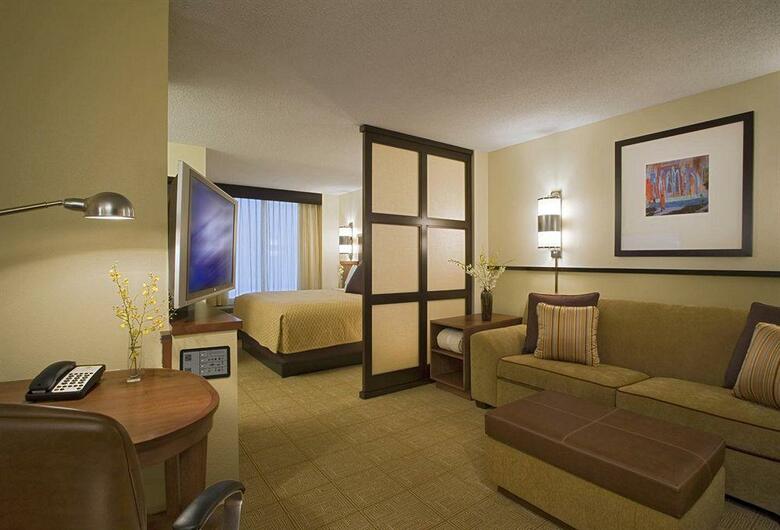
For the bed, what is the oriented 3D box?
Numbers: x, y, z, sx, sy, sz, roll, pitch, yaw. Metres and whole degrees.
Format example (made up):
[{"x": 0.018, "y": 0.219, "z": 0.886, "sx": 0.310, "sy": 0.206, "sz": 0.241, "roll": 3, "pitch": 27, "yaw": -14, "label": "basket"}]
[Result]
[{"x": -1.194, "y": 0.791, "z": 6.335, "sx": 1.202, "sy": 0.956, "sz": 1.448, "roll": -14, "pitch": 19, "yaw": -43, "label": "bed"}]

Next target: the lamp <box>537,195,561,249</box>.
[{"x": 1.686, "y": -0.440, "z": 5.330, "sx": 0.197, "sy": 0.585, "sz": 0.242, "roll": -1, "pitch": 4, "yaw": 4, "label": "lamp"}]

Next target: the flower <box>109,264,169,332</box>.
[{"x": -1.599, "y": 0.238, "z": 3.248, "sx": 0.313, "sy": 0.462, "sz": 0.225, "roll": -9, "pitch": 16, "yaw": -29, "label": "flower"}]

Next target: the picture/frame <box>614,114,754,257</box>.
[{"x": 2.609, "y": -0.694, "z": 4.415, "sx": 0.051, "sy": 1.395, "sz": 1.289, "roll": 0, "pitch": -1, "yaw": -44, "label": "picture/frame"}]

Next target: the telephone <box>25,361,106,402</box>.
[{"x": -1.798, "y": 0.643, "z": 2.815, "sx": 0.267, "sy": 0.161, "sz": 0.302, "roll": -2, "pitch": 14, "yaw": -5, "label": "telephone"}]

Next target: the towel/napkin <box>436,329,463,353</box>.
[{"x": 0.623, "y": 0.792, "z": 5.258, "sx": 0.183, "sy": 0.203, "sz": 0.279, "roll": 28, "pitch": -18, "yaw": -31, "label": "towel/napkin"}]

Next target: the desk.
[{"x": -1.486, "y": 0.819, "z": 2.853, "sx": 0.981, "sy": 0.759, "sz": 0.938, "roll": 2, "pitch": 4, "yaw": -7, "label": "desk"}]

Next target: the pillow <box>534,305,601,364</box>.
[{"x": 1.584, "y": 0.628, "z": 4.467, "sx": 0.442, "sy": 0.457, "sz": 0.165, "roll": -4, "pitch": -21, "yaw": 32, "label": "pillow"}]

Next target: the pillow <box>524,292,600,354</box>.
[{"x": 1.556, "y": 0.539, "z": 4.544, "sx": 0.182, "sy": 0.498, "sz": 0.499, "roll": 16, "pitch": -12, "yaw": -35, "label": "pillow"}]

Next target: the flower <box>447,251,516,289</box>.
[{"x": 1.023, "y": 0.052, "z": 5.790, "sx": 0.497, "sy": 0.365, "sz": 0.476, "roll": -3, "pitch": 2, "yaw": -41, "label": "flower"}]

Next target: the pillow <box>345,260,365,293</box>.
[{"x": -0.542, "y": 0.186, "z": 7.248, "sx": 0.124, "sy": 0.432, "sz": 0.434, "roll": 12, "pitch": -39, "yaw": 4, "label": "pillow"}]

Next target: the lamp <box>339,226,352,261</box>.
[{"x": -0.837, "y": -0.392, "z": 9.341, "sx": 0.165, "sy": 0.675, "sz": 0.548, "roll": -9, "pitch": 16, "yaw": -31, "label": "lamp"}]

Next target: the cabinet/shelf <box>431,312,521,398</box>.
[{"x": 1.032, "y": 0.936, "z": 5.438, "sx": 0.991, "sy": 0.883, "sz": 0.632, "roll": 1, "pitch": -1, "yaw": -39, "label": "cabinet/shelf"}]

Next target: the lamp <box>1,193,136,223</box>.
[{"x": -1.706, "y": -0.314, "z": 2.737, "sx": 0.509, "sy": 0.204, "sz": 0.292, "roll": 2, "pitch": 1, "yaw": -32, "label": "lamp"}]
